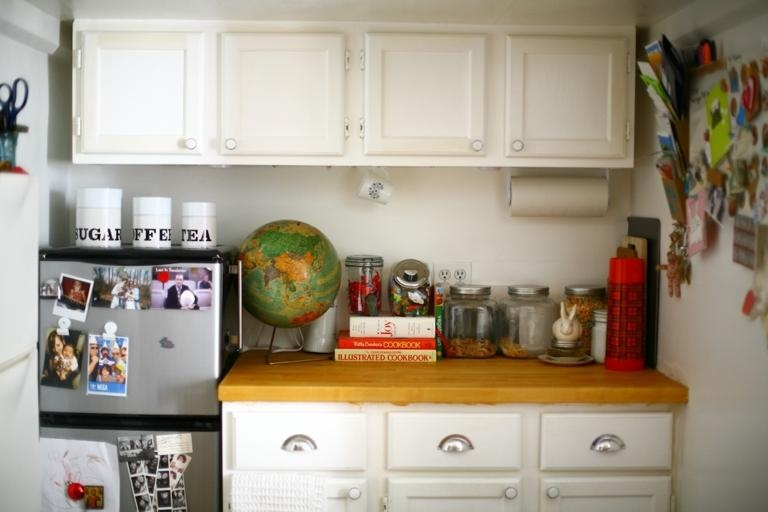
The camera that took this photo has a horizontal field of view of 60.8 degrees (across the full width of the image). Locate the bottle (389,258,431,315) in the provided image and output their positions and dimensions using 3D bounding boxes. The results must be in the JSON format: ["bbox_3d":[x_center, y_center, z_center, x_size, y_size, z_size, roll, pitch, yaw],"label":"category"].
[{"bbox_3d":[0.120,0.131,2.784,0.182,0.232,0.168,0,1,0],"label":"bottle"}]

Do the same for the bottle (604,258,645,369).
[{"bbox_3d":[0.958,0.229,2.545,0.143,0.436,0.080,0,1,17],"label":"bottle"}]

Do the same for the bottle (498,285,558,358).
[{"bbox_3d":[0.606,0.283,2.852,0.271,0.305,0.272,0,0,2],"label":"bottle"}]

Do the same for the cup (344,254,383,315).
[{"bbox_3d":[-0.081,0.122,2.776,0.166,0.250,0.170,0,1,0],"label":"cup"}]

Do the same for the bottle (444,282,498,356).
[{"bbox_3d":[0.373,0.270,2.760,0.223,0.294,0.189,0,1,9],"label":"bottle"}]

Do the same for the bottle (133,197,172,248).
[{"bbox_3d":[-0.915,-0.132,2.550,0.127,0.199,0.101,1,1,30],"label":"bottle"}]

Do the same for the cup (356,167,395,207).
[{"bbox_3d":[-0.026,-0.290,2.734,0.127,0.155,0.128,-1,15,0],"label":"cup"}]
